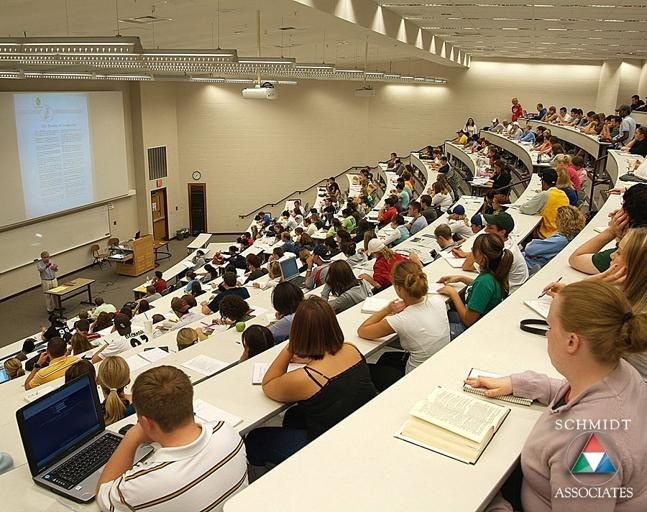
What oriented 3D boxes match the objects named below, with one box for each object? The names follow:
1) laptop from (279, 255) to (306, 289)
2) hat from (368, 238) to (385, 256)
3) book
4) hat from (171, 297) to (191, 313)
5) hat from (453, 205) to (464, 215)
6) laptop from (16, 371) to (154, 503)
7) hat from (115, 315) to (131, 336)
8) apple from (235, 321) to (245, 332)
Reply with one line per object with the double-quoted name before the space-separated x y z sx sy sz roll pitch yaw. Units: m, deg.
"laptop" -0.555 0.291 6.972 0.457 0.378 0.484 -17 37 -43
"hat" 0.680 -0.119 5.412 0.176 0.142 0.250 -23 2 -17
"book" 0.513 0.614 1.607 0.354 0.068 0.404 3 17 36
"hat" -2.112 0.708 6.013 0.234 0.124 0.178 29 53 27
"hat" 2.293 -0.796 7.143 0.125 0.180 0.179 2 -5 -14
"laptop" -1.274 1.104 2.247 0.498 0.474 0.618 21 27 15
"hat" -3.120 1.068 6.418 0.175 0.144 0.278 -13 47 -27
"apple" -0.751 0.633 3.742 0.075 0.073 0.077 2 12 12
